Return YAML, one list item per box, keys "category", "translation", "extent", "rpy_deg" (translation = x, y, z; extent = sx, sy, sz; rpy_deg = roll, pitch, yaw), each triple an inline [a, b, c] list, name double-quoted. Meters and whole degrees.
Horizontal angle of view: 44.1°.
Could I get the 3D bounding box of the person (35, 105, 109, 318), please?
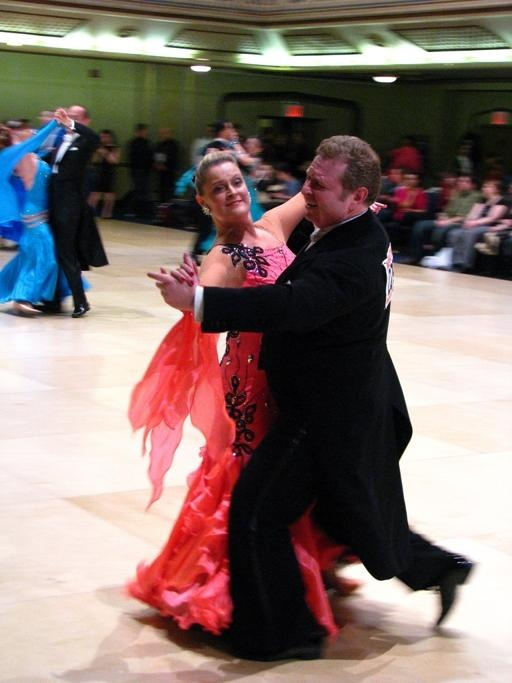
- category: "person"
  translation: [-1.926, -1.323, 6.431]
  extent: [0.610, 2.153, 0.588]
  rpy_deg: [5, 5, 18]
